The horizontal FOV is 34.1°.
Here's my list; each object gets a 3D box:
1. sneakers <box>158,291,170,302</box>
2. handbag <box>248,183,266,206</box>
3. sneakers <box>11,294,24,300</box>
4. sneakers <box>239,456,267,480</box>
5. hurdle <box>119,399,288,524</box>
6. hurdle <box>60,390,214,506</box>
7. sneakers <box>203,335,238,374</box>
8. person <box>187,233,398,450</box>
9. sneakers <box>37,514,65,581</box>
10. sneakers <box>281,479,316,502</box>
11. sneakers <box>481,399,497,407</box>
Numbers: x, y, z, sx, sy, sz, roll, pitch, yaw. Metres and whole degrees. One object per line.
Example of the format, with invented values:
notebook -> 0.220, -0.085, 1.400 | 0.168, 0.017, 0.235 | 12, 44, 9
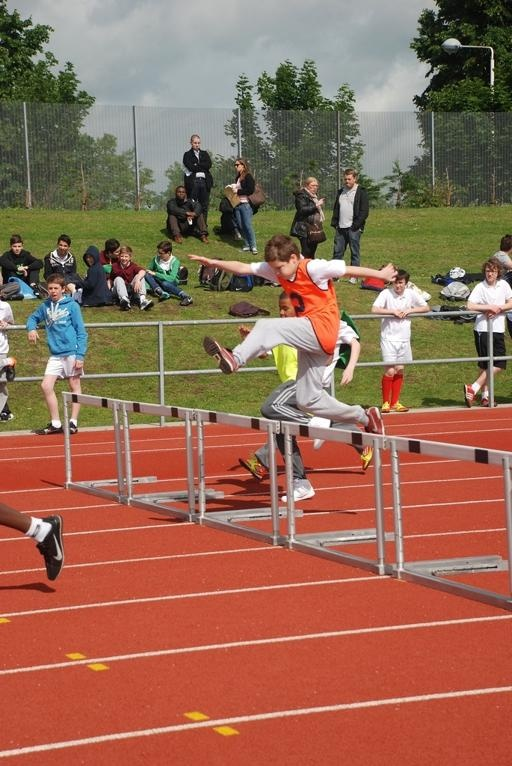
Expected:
sneakers -> -1.838, -1.723, 16.711 | 0.203, 0.172, 0.410 | -3, 4, -7
handbag -> 0.020, -4.353, 19.408 | 0.333, 0.513, 0.720 | -3, 4, 2
sneakers -> -4.584, -1.638, 15.993 | 0.133, 0.121, 0.051 | -1, 19, -21
sneakers -> -0.021, 0.764, 7.466 | 0.191, 0.259, 0.087 | -26, -21, -41
hurdle -> -0.237, 0.668, 6.555 | 0.769, 0.890, 2.295 | -1, 1, -33
hurdle -> -0.872, 0.623, 7.270 | 0.725, 0.883, 2.312 | -1, 1, -37
sneakers -> -0.235, -0.180, 5.694 | 0.166, 0.131, 0.344 | -8, 47, -44
person -> 0.281, -0.352, 6.109 | 1.655, 1.323, 0.884 | 7, -13, -37
sneakers -> -1.138, 0.915, 4.683 | 0.154, 0.360, 0.129 | -15, 17, -33
sneakers -> 0.306, 0.845, 6.541 | 0.342, 0.211, 0.128 | -3, -1, -13
sneakers -> 3.595, 0.309, 12.743 | 0.109, 0.123, 0.305 | 0, -2, -6
